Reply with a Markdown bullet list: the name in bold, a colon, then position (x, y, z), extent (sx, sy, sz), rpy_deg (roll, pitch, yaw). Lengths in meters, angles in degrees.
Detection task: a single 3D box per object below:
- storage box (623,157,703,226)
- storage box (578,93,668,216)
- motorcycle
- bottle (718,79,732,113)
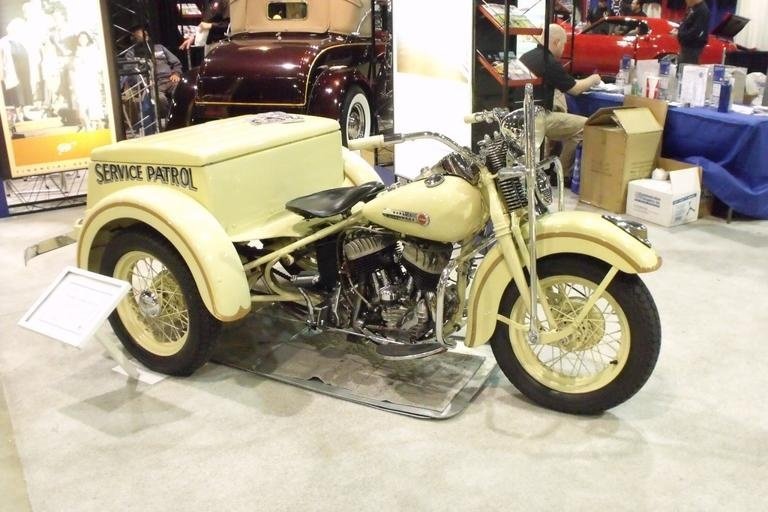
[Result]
- **storage box**: position (2.983, -0.658, 5.620), extent (0.697, 0.508, 0.709), rpy_deg (9, 22, 25)
- **storage box**: position (2.663, -1.148, 5.948), extent (0.693, 1.116, 0.711), rpy_deg (-18, 25, -30)
- **motorcycle**: position (-0.107, -0.168, 3.547), extent (3.396, 1.783, 1.866), rpy_deg (8, 22, 24)
- **bottle**: position (3.526, -1.641, 5.477), extent (0.122, 0.342, 0.233), rpy_deg (4, 36, 24)
